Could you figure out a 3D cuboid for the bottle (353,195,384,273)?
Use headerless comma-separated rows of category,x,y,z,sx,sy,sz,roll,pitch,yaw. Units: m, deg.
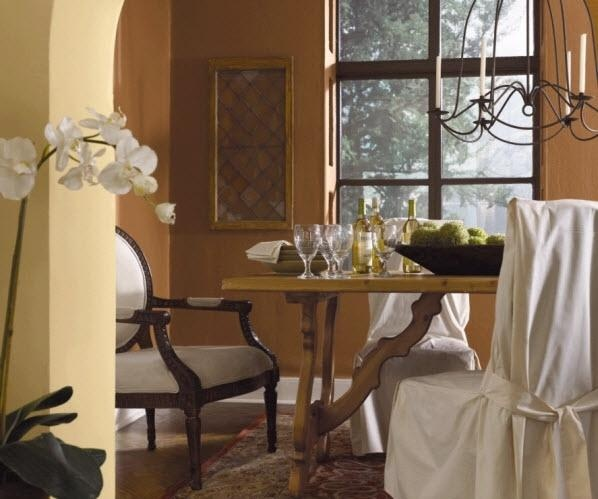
bottle,0.269,-0.058,3.463,0.126,0.305,0.116,-1,6,0

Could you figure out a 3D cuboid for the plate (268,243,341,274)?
plate,0.008,0.042,3.508,0.261,0.108,0.241,1,4,-23

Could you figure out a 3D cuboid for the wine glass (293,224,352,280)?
wine glass,0.080,0.003,3.217,0.155,0.226,0.182,5,3,30

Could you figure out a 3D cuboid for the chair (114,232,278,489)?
chair,-0.517,0.458,3.608,0.647,1.091,0.625,-1,-3,14

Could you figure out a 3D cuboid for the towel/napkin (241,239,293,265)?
towel/napkin,-0.121,0.020,3.388,0.177,0.091,0.114,-1,5,-3

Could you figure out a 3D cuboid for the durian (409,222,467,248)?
durian,0.527,-0.062,3.189,0.180,0.105,0.163,4,5,11

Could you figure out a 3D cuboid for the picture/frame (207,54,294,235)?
picture/frame,-0.265,-0.580,4.747,0.455,0.934,0.101,0,6,8
